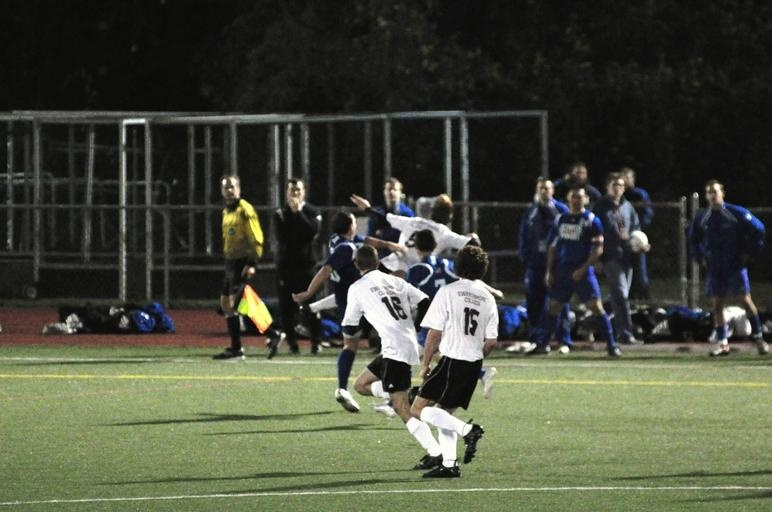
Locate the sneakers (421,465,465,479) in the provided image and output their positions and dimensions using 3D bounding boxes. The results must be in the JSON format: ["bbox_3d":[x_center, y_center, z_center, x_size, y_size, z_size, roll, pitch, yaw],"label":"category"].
[{"bbox_3d":[0.684,2.599,15.577,0.486,0.176,0.168,3,-6,1],"label":"sneakers"}]

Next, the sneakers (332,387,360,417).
[{"bbox_3d":[-0.539,1.983,17.612,0.520,0.195,0.231,39,-10,-4],"label":"sneakers"}]

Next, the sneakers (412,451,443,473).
[{"bbox_3d":[0.525,2.505,15.632,0.447,0.174,0.154,-2,-1,0],"label":"sneakers"}]

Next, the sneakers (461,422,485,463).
[{"bbox_3d":[1.051,2.255,15.546,0.284,0.541,0.191,7,17,0],"label":"sneakers"}]

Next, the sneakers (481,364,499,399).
[{"bbox_3d":[1.331,1.582,16.568,0.267,0.544,0.202,4,1,1],"label":"sneakers"}]

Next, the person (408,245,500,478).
[{"bbox_3d":[0.845,1.273,15.618,1.008,2.786,0.346,-1,-2,1],"label":"person"}]

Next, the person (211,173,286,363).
[{"bbox_3d":[-2.435,0.184,21.426,0.601,3.043,0.886,0,-2,-28],"label":"person"}]

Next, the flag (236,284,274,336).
[{"bbox_3d":[-2.170,0.812,21.570,0.251,0.765,0.803,-37,-24,-26],"label":"flag"}]

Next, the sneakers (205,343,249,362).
[{"bbox_3d":[-2.684,1.662,21.725,0.565,0.217,0.229,4,-4,-8],"label":"sneakers"}]
